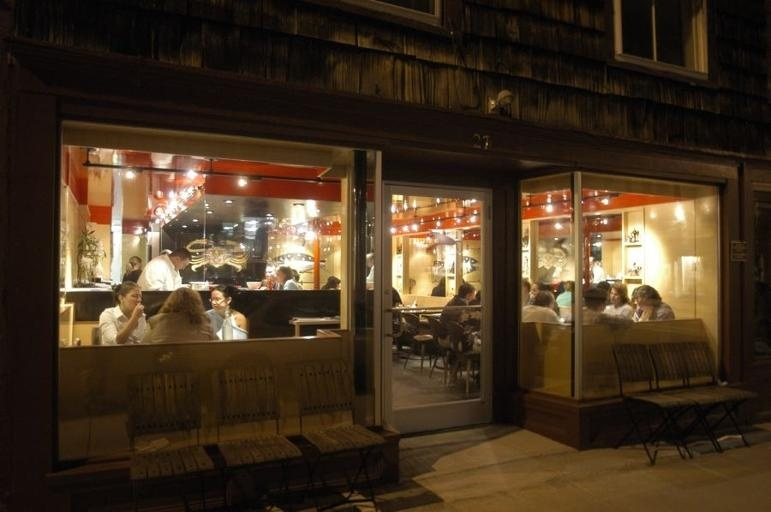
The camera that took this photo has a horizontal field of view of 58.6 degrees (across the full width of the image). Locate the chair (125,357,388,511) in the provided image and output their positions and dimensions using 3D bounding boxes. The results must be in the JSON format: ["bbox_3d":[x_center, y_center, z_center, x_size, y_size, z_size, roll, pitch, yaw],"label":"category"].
[{"bbox_3d":[-1.105,1.682,6.212,2.264,1.304,0.800,0,0,-23],"label":"chair"}]

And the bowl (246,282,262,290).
[{"bbox_3d":[-1.427,0.332,7.478,0.150,0.083,0.256,0,1,-4],"label":"bowl"}]

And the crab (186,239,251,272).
[{"bbox_3d":[-1.738,-0.002,7.312,0.714,0.333,0.207,-1,1,-43],"label":"crab"}]

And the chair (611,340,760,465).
[{"bbox_3d":[3.443,1.616,7.945,1.793,1.159,0.793,0,1,-27],"label":"chair"}]
